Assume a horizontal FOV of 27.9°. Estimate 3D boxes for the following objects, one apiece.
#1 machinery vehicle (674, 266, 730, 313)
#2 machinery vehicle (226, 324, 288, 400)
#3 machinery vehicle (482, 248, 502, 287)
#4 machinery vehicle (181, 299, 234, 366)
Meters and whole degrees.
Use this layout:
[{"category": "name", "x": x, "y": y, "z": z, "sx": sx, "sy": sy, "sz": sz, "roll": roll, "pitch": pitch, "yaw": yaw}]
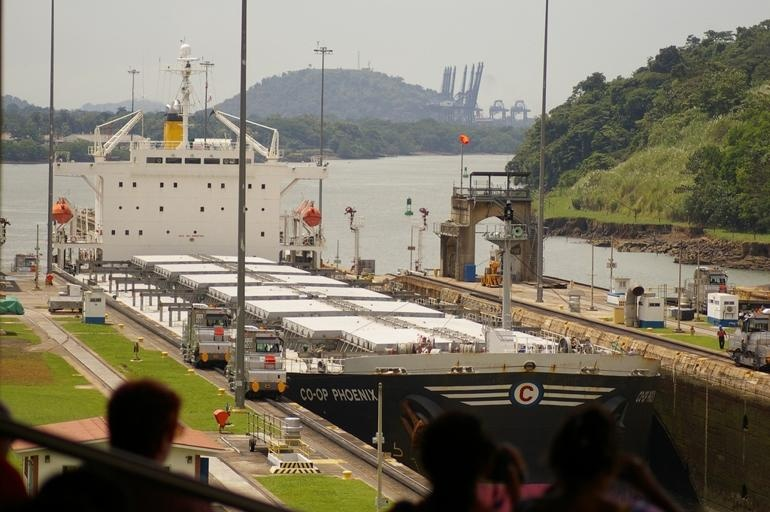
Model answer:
[{"category": "machinery vehicle", "x": 18.146, "y": 1.679, "z": 87.021, "sx": 2.675, "sy": 3.005, "sz": 3.613, "roll": 2, "pitch": -3, "yaw": -9}, {"category": "machinery vehicle", "x": -5.921, "y": 4.638, "z": 70.940, "sx": 1.920, "sy": 3.071, "sz": 5.659, "roll": 1, "pitch": 5, "yaw": -18}, {"category": "machinery vehicle", "x": 6.550, "y": 0.674, "z": 93.549, "sx": 0.939, "sy": 2.200, "sz": 2.804, "roll": -4, "pitch": 2, "yaw": -11}, {"category": "machinery vehicle", "x": -8.523, "y": 3.820, "z": 74.835, "sx": 2.073, "sy": 2.771, "sz": 5.413, "roll": -1, "pitch": 0, "yaw": -16}]
